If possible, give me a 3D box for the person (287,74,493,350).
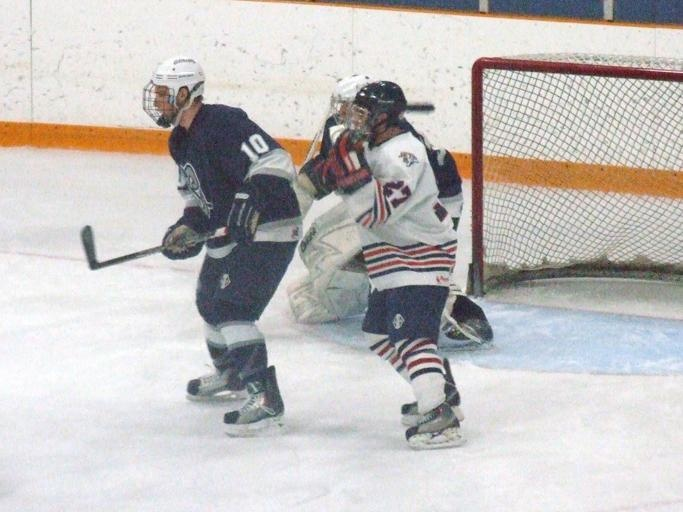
[{"bbox_3d":[0.324,-0.351,4.938,1.082,1.291,0.708,-11,27,-17],"label":"person"}]

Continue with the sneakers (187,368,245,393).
[{"bbox_3d":[-0.580,0.597,4.356,0.316,0.140,0.106,1,6,-16],"label":"sneakers"}]

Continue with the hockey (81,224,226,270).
[{"bbox_3d":[-1.006,-0.033,4.902,0.584,0.209,0.049,-20,20,-14],"label":"hockey"}]

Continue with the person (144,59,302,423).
[{"bbox_3d":[-0.533,-0.091,4.139,0.716,1.607,0.446,5,11,36],"label":"person"}]

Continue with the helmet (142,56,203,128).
[{"bbox_3d":[-0.765,-0.772,4.299,0.298,0.325,0.272,3,16,16],"label":"helmet"}]

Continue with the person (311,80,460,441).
[{"bbox_3d":[0.169,0.043,4.066,0.652,1.602,0.654,-2,4,-3],"label":"person"}]
